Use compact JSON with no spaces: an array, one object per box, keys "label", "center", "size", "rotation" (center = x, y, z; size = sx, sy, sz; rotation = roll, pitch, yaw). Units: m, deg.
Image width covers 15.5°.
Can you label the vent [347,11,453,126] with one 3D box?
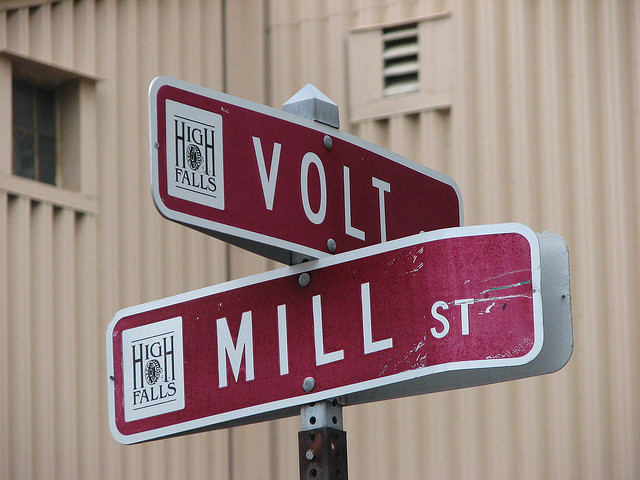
[{"label":"vent","center":[0.515,-0.987,13.837],"size":[0.547,0.540,0.063],"rotation":[-8,-19,18]}]
